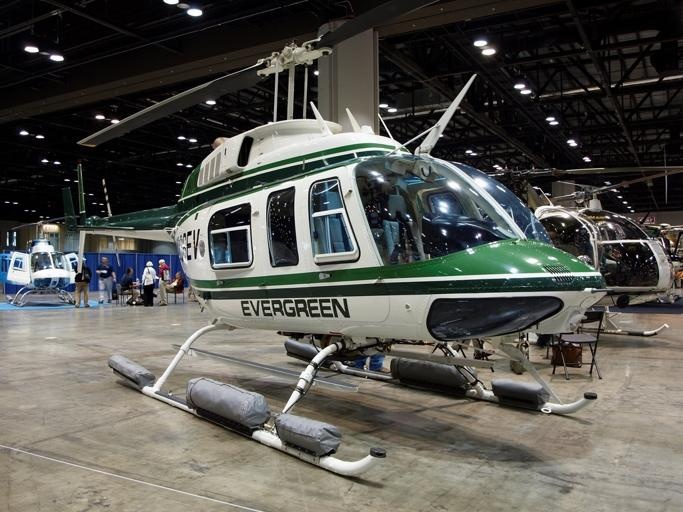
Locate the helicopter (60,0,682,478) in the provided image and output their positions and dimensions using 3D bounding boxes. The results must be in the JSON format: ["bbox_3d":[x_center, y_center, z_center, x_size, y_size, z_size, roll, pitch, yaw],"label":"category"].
[{"bbox_3d":[-0.297,-0.433,4.714,4.621,4.400,2.477,-5,-3,41],"label":"helicopter"}]

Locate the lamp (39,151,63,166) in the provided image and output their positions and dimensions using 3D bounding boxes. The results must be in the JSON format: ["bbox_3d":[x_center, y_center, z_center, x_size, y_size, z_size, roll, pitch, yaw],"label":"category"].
[{"bbox_3d":[-13.372,-4.426,21.334,0.830,0.164,0.652,3,-2,-8],"label":"lamp"}]

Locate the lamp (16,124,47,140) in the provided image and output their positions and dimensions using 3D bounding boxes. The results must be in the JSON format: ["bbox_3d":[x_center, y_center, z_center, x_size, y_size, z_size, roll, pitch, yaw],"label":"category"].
[{"bbox_3d":[-11.966,-4.642,17.926,0.886,0.330,1.929,-1,-2,-32],"label":"lamp"}]

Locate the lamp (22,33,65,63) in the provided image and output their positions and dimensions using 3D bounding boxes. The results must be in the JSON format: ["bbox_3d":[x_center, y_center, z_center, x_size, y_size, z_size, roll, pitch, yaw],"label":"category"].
[{"bbox_3d":[-6.953,-4.869,10.799,0.774,0.650,0.634,-2,-3,-26],"label":"lamp"}]

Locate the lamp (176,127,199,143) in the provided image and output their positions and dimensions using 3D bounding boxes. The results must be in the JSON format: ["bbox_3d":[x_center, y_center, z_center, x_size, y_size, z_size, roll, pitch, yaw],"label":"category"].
[{"bbox_3d":[-6.211,-4.839,18.750,1.097,0.525,0.468,9,27,-11],"label":"lamp"}]

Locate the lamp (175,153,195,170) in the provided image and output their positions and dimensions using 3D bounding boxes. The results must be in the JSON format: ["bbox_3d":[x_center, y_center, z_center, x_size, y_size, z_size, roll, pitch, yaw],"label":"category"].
[{"bbox_3d":[-7.442,-4.457,22.134,0.881,0.141,0.738,4,-15,-36],"label":"lamp"}]

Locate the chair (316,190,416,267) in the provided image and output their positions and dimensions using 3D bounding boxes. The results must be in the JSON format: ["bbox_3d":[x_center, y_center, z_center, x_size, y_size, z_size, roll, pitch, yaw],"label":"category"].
[{"bbox_3d":[0.252,-0.269,3.680,0.701,0.598,0.312,-13,-11,23],"label":"chair"}]
